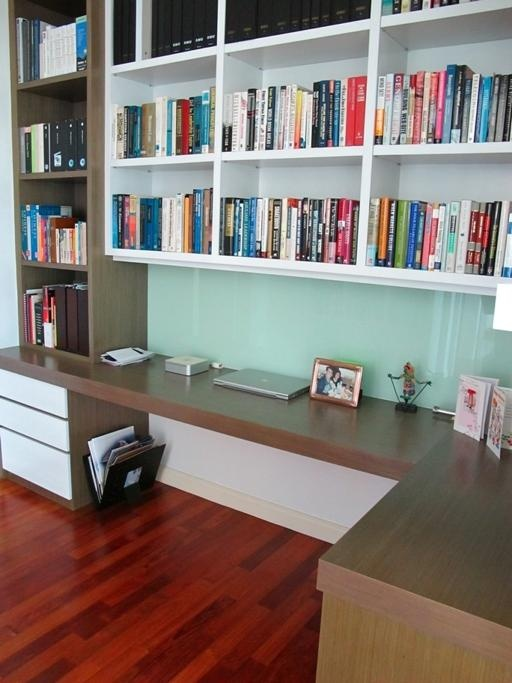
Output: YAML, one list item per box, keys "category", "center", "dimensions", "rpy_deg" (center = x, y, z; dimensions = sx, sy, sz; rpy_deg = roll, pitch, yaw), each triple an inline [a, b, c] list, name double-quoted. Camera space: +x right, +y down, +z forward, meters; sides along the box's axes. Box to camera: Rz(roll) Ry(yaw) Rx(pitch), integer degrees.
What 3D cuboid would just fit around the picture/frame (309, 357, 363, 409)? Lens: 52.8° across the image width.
- category: "picture/frame"
  center: [0.315, 0.167, 2.012]
  dimensions: [0.164, 0.142, 0.029]
  rpy_deg: [11, 2, 35]
